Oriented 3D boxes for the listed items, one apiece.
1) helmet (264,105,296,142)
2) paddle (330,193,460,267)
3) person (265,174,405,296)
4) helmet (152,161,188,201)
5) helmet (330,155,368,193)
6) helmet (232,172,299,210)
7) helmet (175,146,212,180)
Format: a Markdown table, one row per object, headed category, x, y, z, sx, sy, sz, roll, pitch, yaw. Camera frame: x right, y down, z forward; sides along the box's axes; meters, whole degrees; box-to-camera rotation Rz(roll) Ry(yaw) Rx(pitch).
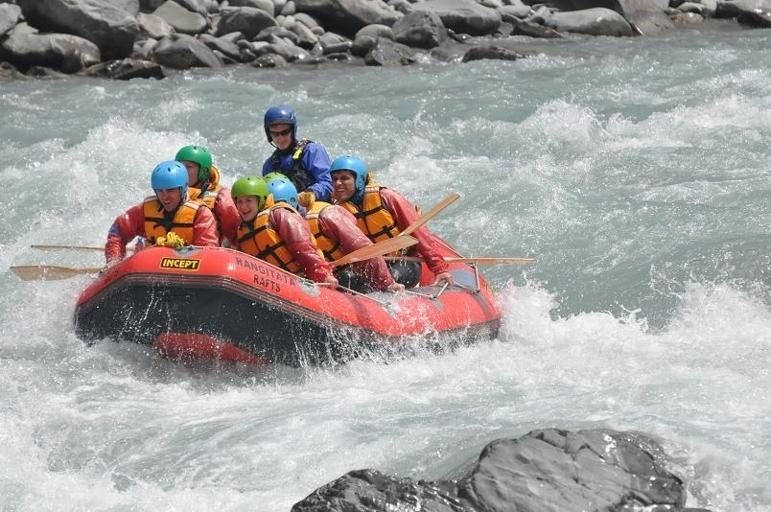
| category | x | y | z | sx | sy | sz | roll | pitch | yaw |
| --- | --- | --- | --- | --- | --- | --- | --- | --- | --- |
| helmet | -1.471 | -1.811 | 13.990 | 0.511 | 0.488 | 0.598 | -8 | -16 | -7 |
| paddle | 0.069 | -0.300 | 12.936 | 1.816 | 0.339 | 0.181 | -33 | 3 | 1 |
| person | -0.493 | -0.459 | 12.889 | 1.594 | 0.753 | 2.631 | -10 | -15 | -6 |
| helmet | -2.563 | -0.905 | 12.091 | 0.446 | 0.406 | 0.496 | 4 | 11 | 26 |
| helmet | -0.416 | -1.036 | 12.972 | 0.555 | 0.390 | 0.392 | 3 | 7 | -29 |
| helmet | -1.475 | -0.794 | 12.191 | 0.447 | 0.405 | 0.646 | 3 | 21 | 27 |
| helmet | -2.463 | -1.183 | 12.763 | 0.481 | 0.410 | 0.500 | 15 | 1 | -9 |
